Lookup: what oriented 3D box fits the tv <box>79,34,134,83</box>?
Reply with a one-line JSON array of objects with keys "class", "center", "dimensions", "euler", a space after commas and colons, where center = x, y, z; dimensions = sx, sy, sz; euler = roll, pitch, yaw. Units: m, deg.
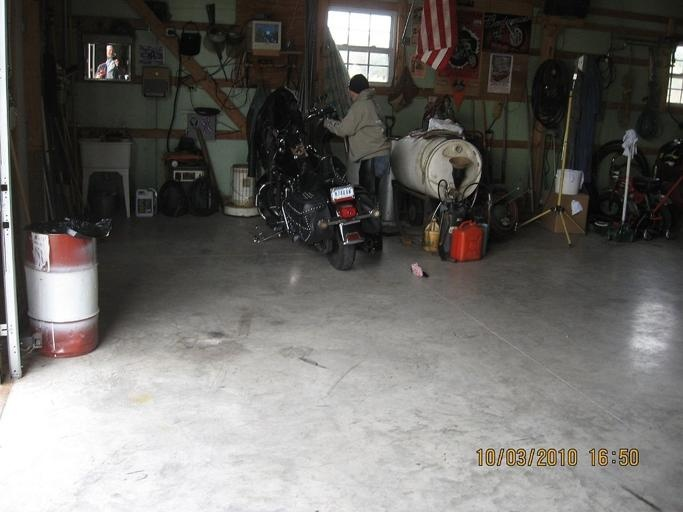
[{"class": "tv", "center": [-3.339, -2.797, 7.500], "dimensions": [0.601, 0.673, 0.085], "euler": [0, 14, -14]}]

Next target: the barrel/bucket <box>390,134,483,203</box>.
[{"class": "barrel/bucket", "center": [1.123, -1.131, 6.637], "dimensions": [0.614, 0.584, 1.252], "euler": [19, 4, -18]}]

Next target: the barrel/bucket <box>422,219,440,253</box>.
[{"class": "barrel/bucket", "center": [1.040, -0.229, 6.179], "dimensions": [0.180, 0.369, 0.333], "euler": [1, 14, 10]}]

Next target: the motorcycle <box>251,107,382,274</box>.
[{"class": "motorcycle", "center": [-0.307, -0.629, 5.526], "dimensions": [0.775, 1.414, 1.553], "euler": [-9, 16, -29]}]

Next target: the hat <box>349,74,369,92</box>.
[{"class": "hat", "center": [0.205, -2.056, 6.284], "dimensions": [0.162, 0.211, 0.242], "euler": [-2, 37, -8]}]

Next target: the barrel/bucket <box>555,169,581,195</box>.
[{"class": "barrel/bucket", "center": [3.254, -1.050, 7.653], "dimensions": [0.408, 0.413, 0.443], "euler": [1, 5, 0]}]

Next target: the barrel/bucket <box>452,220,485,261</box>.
[{"class": "barrel/bucket", "center": [1.370, -0.158, 5.888], "dimensions": [0.364, 0.429, 0.202], "euler": [-11, 17, -34]}]

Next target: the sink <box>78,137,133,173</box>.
[{"class": "sink", "center": [-3.127, -1.333, 7.071], "dimensions": [0.515, 0.267, 0.379], "euler": [0, 7, -16]}]

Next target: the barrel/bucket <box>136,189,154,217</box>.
[{"class": "barrel/bucket", "center": [-2.725, -0.730, 7.378], "dimensions": [0.265, 0.362, 0.171], "euler": [-5, 14, -14]}]
